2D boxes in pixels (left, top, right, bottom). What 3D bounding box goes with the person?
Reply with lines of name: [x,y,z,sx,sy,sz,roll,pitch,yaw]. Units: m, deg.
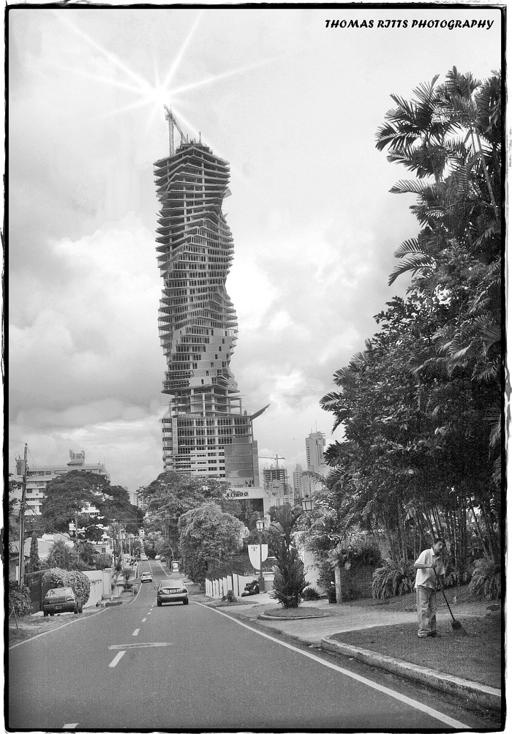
person: [2.401,3.033,10.596,0.425,1.274,0.763,-4,-11,12]

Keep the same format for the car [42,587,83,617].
car: [-7.400,8.871,29.023,1.323,0.988,1.622,1,-14,-18]

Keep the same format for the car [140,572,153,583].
car: [-12.550,24.061,87.797,0.921,1.013,2.269,1,-1,-3]
